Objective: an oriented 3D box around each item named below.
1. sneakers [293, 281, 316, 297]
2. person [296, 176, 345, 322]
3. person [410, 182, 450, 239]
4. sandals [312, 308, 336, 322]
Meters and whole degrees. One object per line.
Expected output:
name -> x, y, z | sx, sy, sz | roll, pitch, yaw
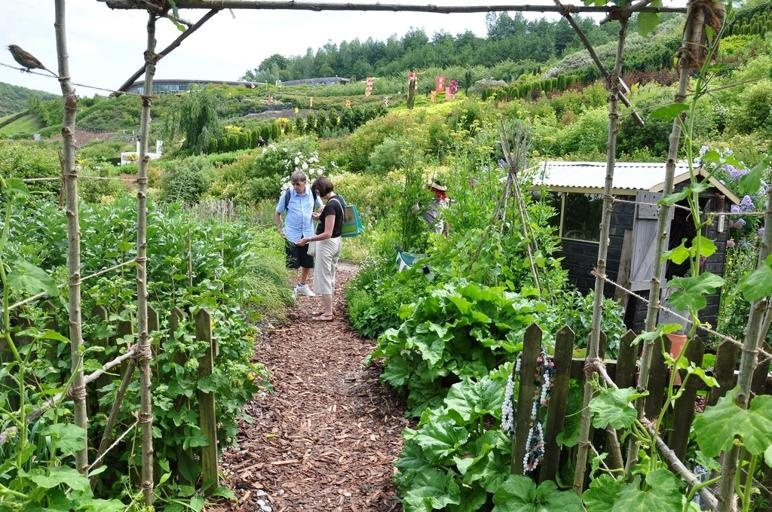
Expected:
sneakers -> -1.202, 0.501, 9.090 | 0.438, 0.208, 0.162 | 6, 14, 6
person -> -0.820, -0.116, 8.415 | 0.567, 1.881, 0.808 | -3, 8, -15
person -> 0.619, -0.648, 8.656 | 0.497, 0.722, 1.114 | -1, 7, 4
sandals -> -0.825, 0.786, 8.296 | 0.249, 0.102, 0.138 | 4, 3, 6
